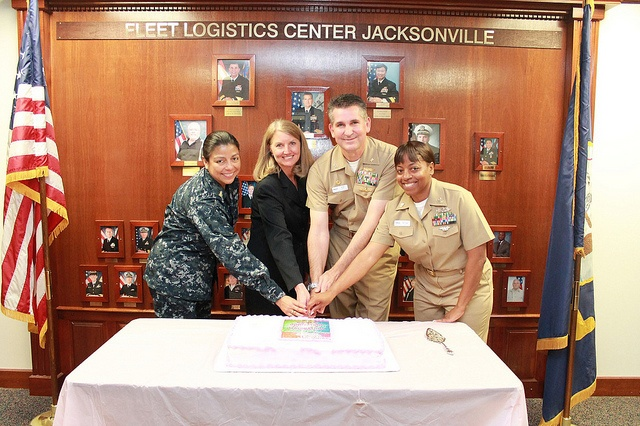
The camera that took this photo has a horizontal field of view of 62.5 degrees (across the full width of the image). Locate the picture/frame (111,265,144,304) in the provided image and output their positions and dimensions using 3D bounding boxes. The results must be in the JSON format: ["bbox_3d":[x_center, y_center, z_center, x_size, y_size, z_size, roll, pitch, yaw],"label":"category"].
[{"bbox_3d":[-1.649,0.594,4.509,0.303,0.422,0.035,0,4,-2],"label":"picture/frame"}]

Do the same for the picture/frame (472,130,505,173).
[{"bbox_3d":[1.419,-0.533,4.435,0.327,0.465,0.049,0,2,-1],"label":"picture/frame"}]

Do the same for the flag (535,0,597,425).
[{"bbox_3d":[1.918,0.046,3.917,0.516,3.169,0.323,-8,12,-38],"label":"flag"}]

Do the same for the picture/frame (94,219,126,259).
[{"bbox_3d":[-1.789,0.204,4.477,0.305,0.435,0.032,0,4,-1],"label":"picture/frame"}]

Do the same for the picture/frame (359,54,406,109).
[{"bbox_3d":[0.512,-1.106,4.372,0.539,0.639,0.044,0,1,-2],"label":"picture/frame"}]

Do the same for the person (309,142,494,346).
[{"bbox_3d":[0.694,0.225,3.772,1.090,1.453,0.319,1,10,6],"label":"person"}]

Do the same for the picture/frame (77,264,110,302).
[{"bbox_3d":[-1.934,0.589,4.506,0.304,0.435,0.068,0,3,-2],"label":"picture/frame"}]

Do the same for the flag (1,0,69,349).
[{"bbox_3d":[-2.297,-0.252,4.105,0.529,2.730,0.295,-5,11,-27],"label":"flag"}]

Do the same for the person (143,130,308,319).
[{"bbox_3d":[-0.697,0.040,3.919,1.099,1.676,0.720,10,26,0],"label":"person"}]

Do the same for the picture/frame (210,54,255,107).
[{"bbox_3d":[-0.724,-1.119,4.377,0.407,0.498,0.045,0,1,-3],"label":"picture/frame"}]

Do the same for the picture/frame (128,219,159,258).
[{"bbox_3d":[-1.470,0.195,4.382,0.307,0.437,0.037,1,3,-1],"label":"picture/frame"}]

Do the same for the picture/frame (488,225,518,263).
[{"bbox_3d":[1.529,0.249,4.428,0.316,0.494,0.036,-1,2,-1],"label":"picture/frame"}]

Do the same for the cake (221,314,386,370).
[{"bbox_3d":[-0.087,0.778,3.106,0.726,0.117,0.387,1,12,0],"label":"cake"}]

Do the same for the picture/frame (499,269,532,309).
[{"bbox_3d":[1.667,0.638,4.513,0.309,0.458,0.070,0,3,0],"label":"picture/frame"}]

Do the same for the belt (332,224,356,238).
[{"bbox_3d":[0.182,0.136,4.164,0.133,0.041,0.099,23,-2,18],"label":"belt"}]
